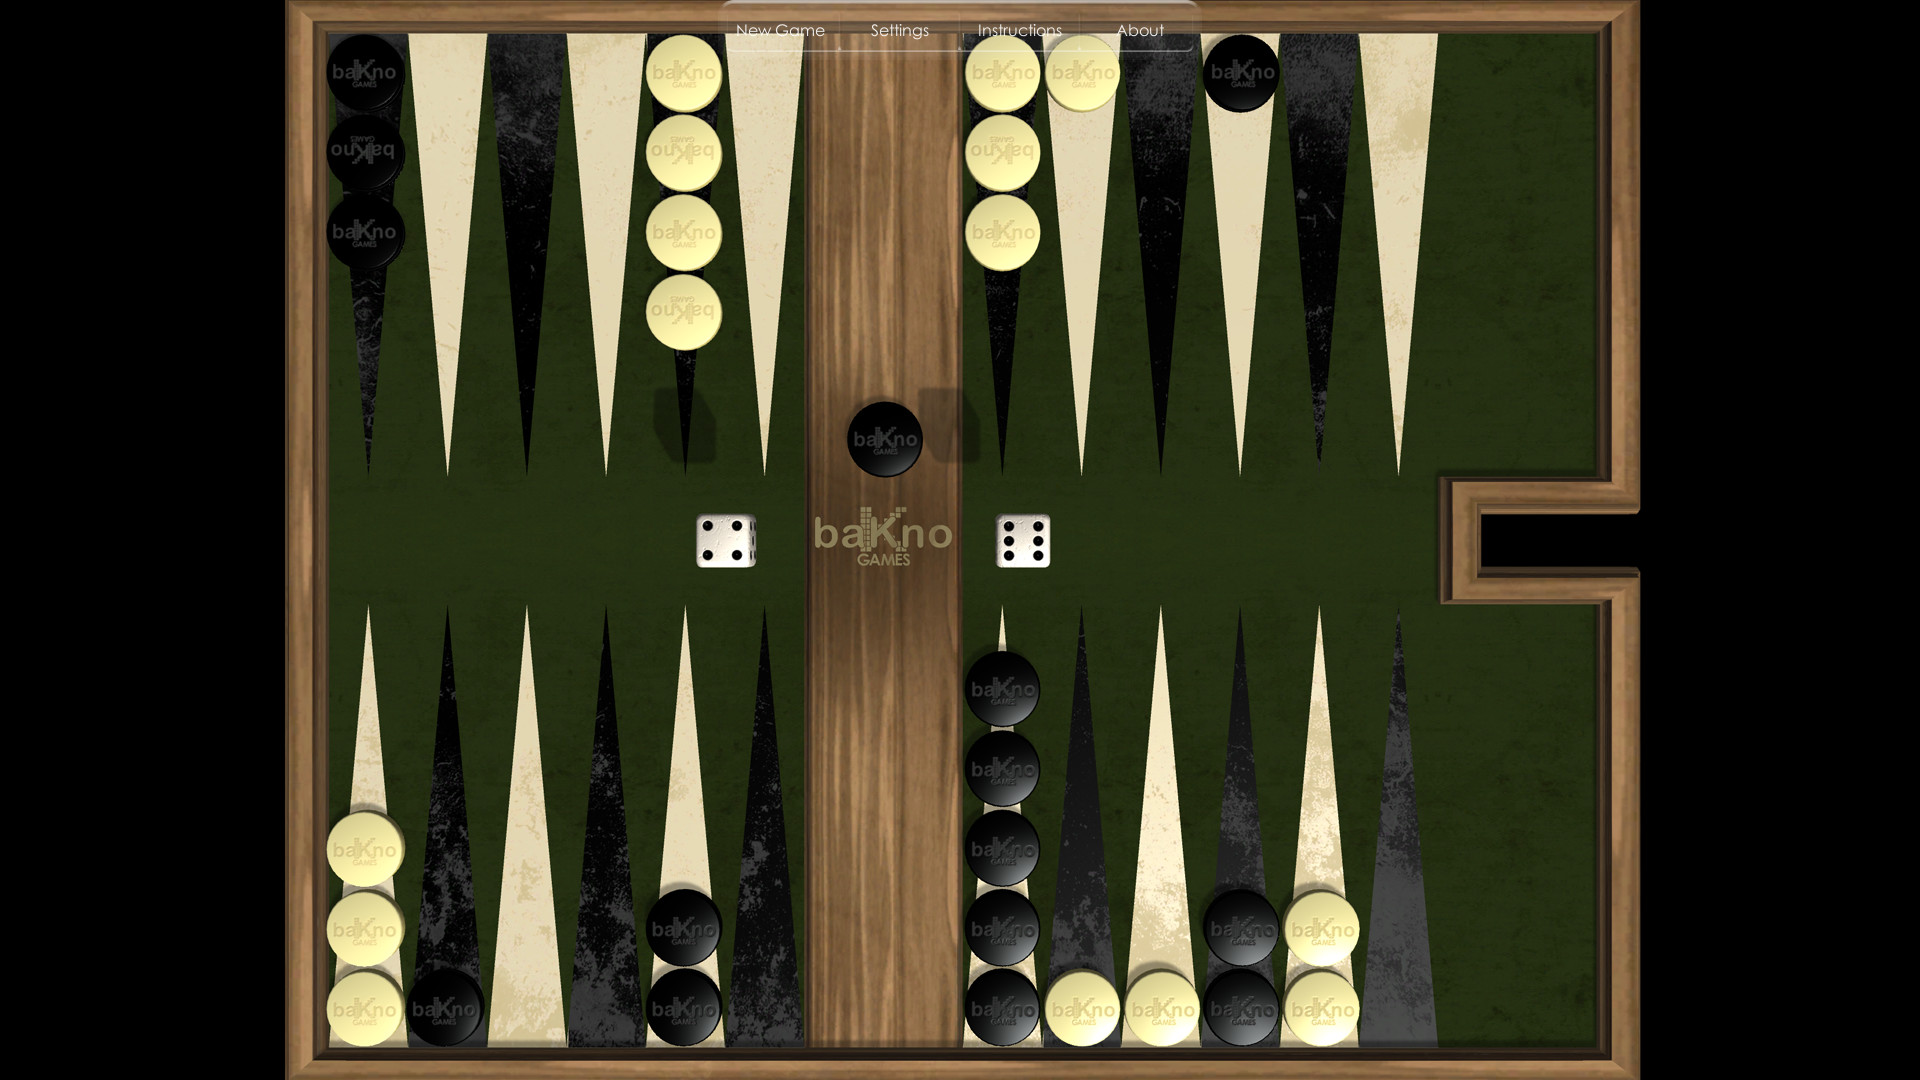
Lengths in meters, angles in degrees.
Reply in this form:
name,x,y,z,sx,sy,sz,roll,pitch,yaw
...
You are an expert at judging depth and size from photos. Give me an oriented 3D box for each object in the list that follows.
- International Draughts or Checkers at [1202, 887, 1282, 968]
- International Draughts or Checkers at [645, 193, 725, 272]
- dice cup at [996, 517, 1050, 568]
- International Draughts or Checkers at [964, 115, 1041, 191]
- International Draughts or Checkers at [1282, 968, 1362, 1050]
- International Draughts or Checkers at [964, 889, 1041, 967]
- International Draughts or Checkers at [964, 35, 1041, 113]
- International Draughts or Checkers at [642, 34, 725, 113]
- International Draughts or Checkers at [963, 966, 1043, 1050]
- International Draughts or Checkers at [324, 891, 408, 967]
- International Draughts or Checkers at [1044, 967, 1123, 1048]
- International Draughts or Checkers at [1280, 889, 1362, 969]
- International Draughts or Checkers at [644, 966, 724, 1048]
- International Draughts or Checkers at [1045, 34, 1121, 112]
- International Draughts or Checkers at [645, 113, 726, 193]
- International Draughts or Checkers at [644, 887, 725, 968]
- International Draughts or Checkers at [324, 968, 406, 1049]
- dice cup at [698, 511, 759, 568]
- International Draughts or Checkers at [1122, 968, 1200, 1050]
name,x,y,z,sx,sy,sz,roll,pitch,yaw
International Draughts or Checkers,1.337,1.865,11.444,0.340,0.162,0.349,-29,-68,12
International Draughts or Checkers,-1.302,-1.462,11.434,0.355,0.148,0.325,25,-68,-12
dice cup,0.307,0.014,11.464,0.255,0.110,0.236,0,-65,-1
International Draughts or Checkers,0.190,-1.855,11.447,0.377,0.084,0.351,1,-87,-1
International Draughts or Checkers,1.709,2.256,11.430,0.342,0.175,0.337,-6,-65,2
International Draughts or Checkers,0.201,1.858,11.426,0.330,0.161,0.340,-34,-69,14
International Draughts or Checkers,0.204,-2.234,11.458,0.338,0.152,0.343,26,-68,-12
International Draughts or Checkers,-1.297,-2.242,11.435,0.387,0.085,0.361,-1,-86,1
International Draughts or Checkers,0.208,2.257,11.419,0.412,0.054,0.383,3,-97,-2
International Draughts or Checkers,-2.823,1.864,11.431,0.356,0.165,0.315,9,-66,-5
International Draughts or Checkers,0.586,2.240,11.398,0.359,0.352,0.340,0,-90,1
International Draughts or Checkers,1.715,1.880,11.443,0.348,0.168,0.353,-7,-65,2
International Draughts or Checkers,-1.302,2.246,11.426,0.345,0.166,0.342,-14,-66,6
International Draughts or Checkers,0.578,-2.239,11.448,0.331,0.151,0.329,1,-65,-1
International Draughts or Checkers,-1.296,-1.847,11.428,0.400,0.089,0.373,5,-89,-2
International Draughts or Checkers,-1.303,1.866,11.432,0.346,0.173,0.344,-16,-66,7
International Draughts or Checkers,-2.818,2.250,11.433,0.341,0.182,0.315,0,-65,-1
dice cup,-1.106,0.014,11.457,0.277,0.106,0.237,-1,-65,0
International Draughts or Checkers,0.955,2.255,11.432,0.336,0.169,0.334,0,-65,-1
